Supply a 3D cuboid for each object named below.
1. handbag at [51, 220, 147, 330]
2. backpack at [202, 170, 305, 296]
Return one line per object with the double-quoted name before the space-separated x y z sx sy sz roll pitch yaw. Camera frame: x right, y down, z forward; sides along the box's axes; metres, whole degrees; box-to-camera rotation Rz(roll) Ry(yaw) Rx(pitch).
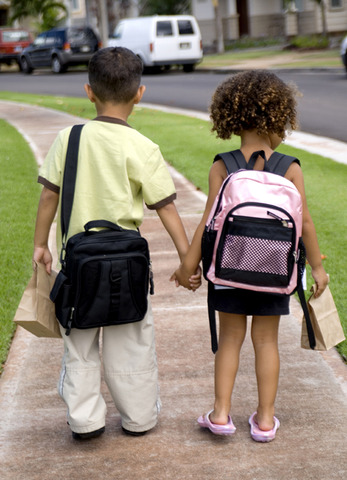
"handbag" -0.256 0.113 1.992 0.354 0.381 0.250 -6 24 -26
"backpack" 0.288 -0.041 1.913 0.326 0.445 0.234 6 17 6
